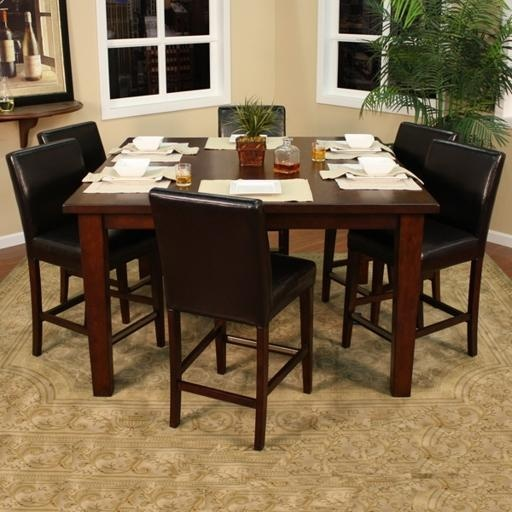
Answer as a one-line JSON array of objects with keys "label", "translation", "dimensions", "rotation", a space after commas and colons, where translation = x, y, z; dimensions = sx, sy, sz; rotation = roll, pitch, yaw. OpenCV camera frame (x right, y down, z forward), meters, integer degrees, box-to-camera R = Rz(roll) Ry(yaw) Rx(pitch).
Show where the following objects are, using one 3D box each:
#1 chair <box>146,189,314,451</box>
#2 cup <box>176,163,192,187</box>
[{"label": "chair", "translation": [-0.071, 0.165, 1.780], "dimensions": [0.501, 0.923, 0.556], "rotation": [10, 24, 23]}, {"label": "cup", "translation": [-0.279, -0.310, 1.841], "dimensions": [0.066, 0.079, 0.098], "rotation": [0, 12, 0]}]
